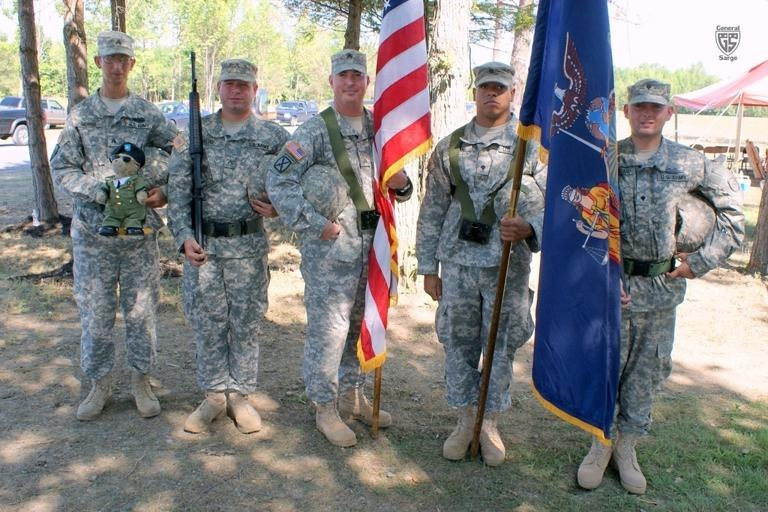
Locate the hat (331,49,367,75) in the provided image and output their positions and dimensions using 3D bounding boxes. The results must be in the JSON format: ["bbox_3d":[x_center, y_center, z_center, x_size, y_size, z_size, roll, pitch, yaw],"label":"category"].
[{"bbox_3d":[-0.283,-1.592,5.158,0.292,0.194,0.178,1,15,-4],"label":"hat"}]

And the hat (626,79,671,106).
[{"bbox_3d":[2.120,-1.305,4.997,0.327,0.200,0.222,7,16,20],"label":"hat"}]

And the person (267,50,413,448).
[{"bbox_3d":[-0.469,-0.035,5.289,0.925,3.280,0.654,-4,16,-19],"label":"person"}]

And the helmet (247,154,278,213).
[{"bbox_3d":[-1.055,-0.612,5.409,0.341,0.448,0.174,6,-1,-17],"label":"helmet"}]

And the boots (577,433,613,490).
[{"bbox_3d":[1.772,1.688,5.340,0.213,0.344,0.577,11,19,29],"label":"boots"}]

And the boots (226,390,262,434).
[{"bbox_3d":[-1.217,1.380,5.555,0.211,0.156,0.429,-18,42,-34],"label":"boots"}]

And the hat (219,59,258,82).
[{"bbox_3d":[-1.219,-1.555,5.260,0.302,0.186,0.213,-1,15,-11],"label":"hat"}]

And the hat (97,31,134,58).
[{"bbox_3d":[-2.330,-1.838,5.455,0.221,0.138,0.294,-6,18,-31],"label":"hat"}]

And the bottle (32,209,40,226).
[{"bbox_3d":[-5.762,-0.634,10.400,0.174,0.328,0.092,-3,-2,16],"label":"bottle"}]

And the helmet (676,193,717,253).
[{"bbox_3d":[2.515,-0.271,5.116,0.351,0.466,0.135,13,-9,-3],"label":"helmet"}]

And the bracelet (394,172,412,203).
[{"bbox_3d":[0.184,-0.592,5.467,0.172,0.219,0.199,-10,-20,8],"label":"bracelet"}]

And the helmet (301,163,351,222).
[{"bbox_3d":[-0.437,-0.556,5.309,0.343,0.466,0.366,-14,15,15],"label":"helmet"}]

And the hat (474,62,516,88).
[{"bbox_3d":[0.896,-1.476,5.094,0.330,0.202,0.220,4,15,8],"label":"hat"}]

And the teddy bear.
[{"bbox_3d":[-2.229,-0.563,5.369,0.396,0.785,0.251,-4,16,-20],"label":"teddy bear"}]
